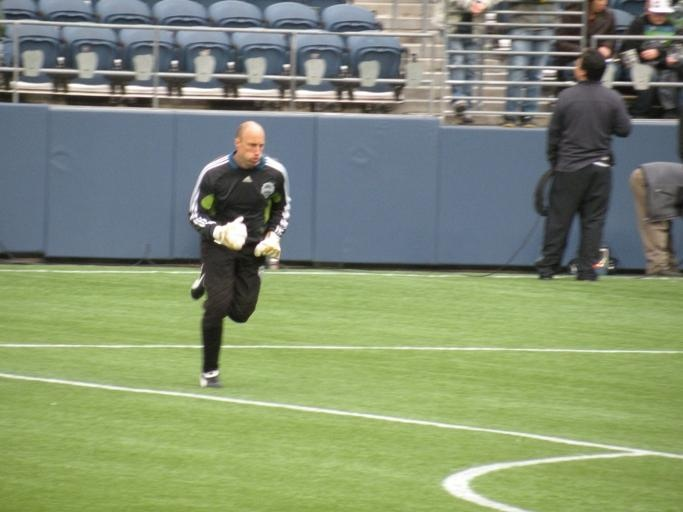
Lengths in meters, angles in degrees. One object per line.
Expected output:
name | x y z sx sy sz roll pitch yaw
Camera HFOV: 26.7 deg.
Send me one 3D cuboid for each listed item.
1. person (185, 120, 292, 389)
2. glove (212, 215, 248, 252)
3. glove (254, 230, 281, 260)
person | -0.870 -0.011 12.364 0.849 2.279 0.534 2 5 -17
glove | -0.953 -0.193 12.216 0.292 0.294 0.299 2 4 -4
glove | -0.636 -0.105 12.430 0.212 0.209 0.306 3 4 5
